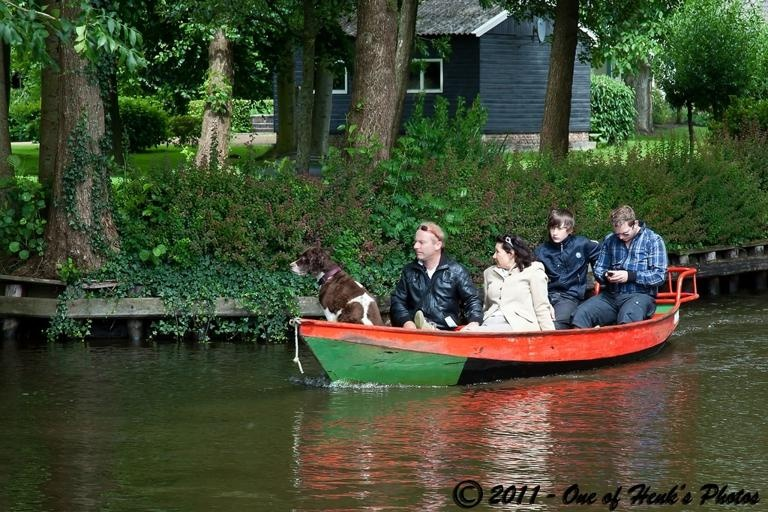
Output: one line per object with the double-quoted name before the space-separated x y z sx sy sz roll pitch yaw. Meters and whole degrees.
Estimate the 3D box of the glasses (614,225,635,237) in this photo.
"glasses" 3.550 -0.361 15.879 0.174 0.093 0.229 -19 -10 33

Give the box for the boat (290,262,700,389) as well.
"boat" 2.167 1.022 15.610 7.158 1.448 1.786 3 -7 -32

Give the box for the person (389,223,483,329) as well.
"person" 0.701 0.433 15.223 1.176 1.655 1.362 -5 10 -26
